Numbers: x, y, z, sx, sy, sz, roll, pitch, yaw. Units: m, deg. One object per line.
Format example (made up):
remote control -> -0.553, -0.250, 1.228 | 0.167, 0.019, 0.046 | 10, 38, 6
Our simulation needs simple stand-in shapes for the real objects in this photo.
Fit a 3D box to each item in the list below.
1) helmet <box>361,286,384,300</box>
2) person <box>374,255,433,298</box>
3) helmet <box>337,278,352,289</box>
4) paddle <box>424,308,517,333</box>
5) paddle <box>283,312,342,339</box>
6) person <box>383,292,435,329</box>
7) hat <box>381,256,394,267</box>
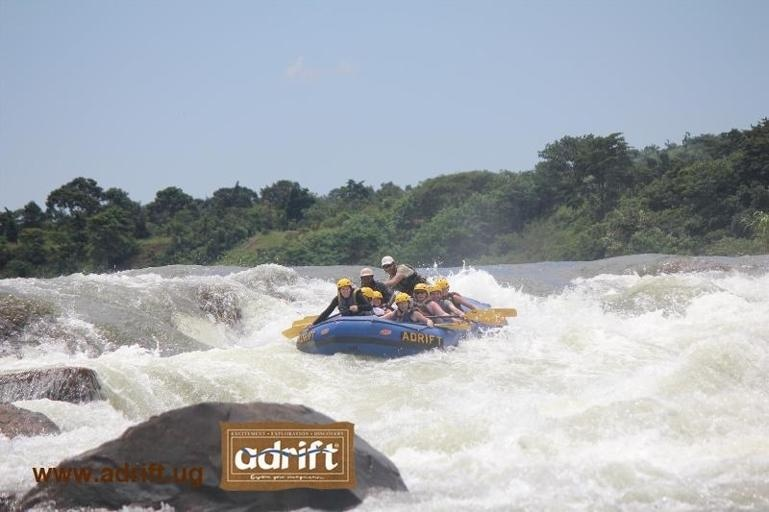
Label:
helmet -> -0.332, 1.006, 17.640 | 0.437, 0.172, 0.295 | 15, -5, -21
person -> 0.781, 0.372, 19.061 | 1.665, 0.745, 1.094 | -6, 17, 6
helmet -> -1.029, 0.655, 16.777 | 0.307, 0.215, 0.451 | -19, -7, -9
paddle -> 2.405, 1.631, 17.057 | 0.816, 0.283, 1.600 | -5, 4, 31
paddle -> -1.820, 1.795, 16.920 | 0.736, 0.397, 1.354 | -7, 1, 2
person -> 0.577, 1.352, 16.818 | 1.191, 0.386, 1.343 | 1, 22, -11
hat -> 0.098, 0.146, 19.027 | 0.291, 0.214, 0.396 | -19, -2, 11
